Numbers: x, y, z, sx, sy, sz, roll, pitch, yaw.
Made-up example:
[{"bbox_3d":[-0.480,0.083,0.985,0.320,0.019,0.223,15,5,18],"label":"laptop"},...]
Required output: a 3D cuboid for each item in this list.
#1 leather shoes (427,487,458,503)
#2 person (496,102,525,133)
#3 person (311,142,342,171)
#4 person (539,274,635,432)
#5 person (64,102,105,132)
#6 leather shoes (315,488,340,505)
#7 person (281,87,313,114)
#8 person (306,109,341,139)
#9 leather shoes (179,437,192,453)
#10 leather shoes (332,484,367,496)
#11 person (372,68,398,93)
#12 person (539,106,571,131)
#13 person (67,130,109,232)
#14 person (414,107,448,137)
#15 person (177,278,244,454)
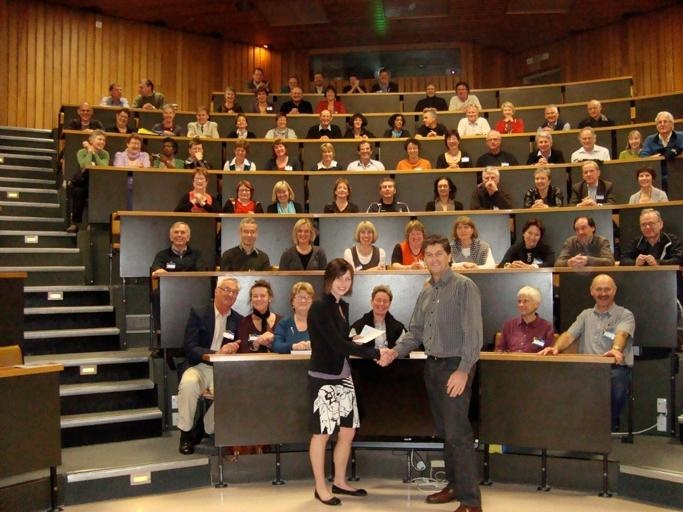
[{"bbox_3d":[0.704,1.671,4.609,0.237,0.098,0.089,3,-9,-9],"label":"leather shoes"},{"bbox_3d":[2.370,-1.963,9.331,0.435,0.370,0.740,-8,24,12],"label":"person"},{"bbox_3d":[-0.166,-1.248,8.098,0.314,0.420,0.837,1,4,-2],"label":"person"},{"bbox_3d":[1.945,0.776,5.093,0.727,1.290,0.793,0,-6,6],"label":"person"},{"bbox_3d":[-3.553,-1.927,9.068,0.504,0.396,0.735,0,4,-23],"label":"person"},{"bbox_3d":[-0.106,1.683,4.587,0.188,0.078,0.070,-5,-8,28],"label":"leather shoes"},{"bbox_3d":[-0.745,-2.556,10.660,0.516,0.560,0.854,1,4,-4],"label":"person"},{"bbox_3d":[-0.249,-1.886,9.393,0.496,0.448,0.880,1,4,-1],"label":"person"},{"bbox_3d":[-1.187,1.418,5.014,0.106,0.145,0.128,0,4,-14],"label":"leather shoes"},{"bbox_3d":[0.055,1.679,4.728,0.259,0.098,0.088,-2,-7,3],"label":"leather shoes"},{"bbox_3d":[0.772,-3.128,11.739,0.412,0.490,0.765,1,4,-5],"label":"person"},{"bbox_3d":[3.013,-1.957,9.242,0.418,0.432,0.816,2,4,20],"label":"person"},{"bbox_3d":[-2.857,-0.870,7.373,0.438,1.168,1.171,0,4,-20],"label":"person"},{"bbox_3d":[1.249,-1.889,9.152,0.411,0.558,1.231,2,4,7],"label":"person"},{"bbox_3d":[-1.034,0.839,5.165,0.492,1.321,0.687,1,3,-8],"label":"person"}]
